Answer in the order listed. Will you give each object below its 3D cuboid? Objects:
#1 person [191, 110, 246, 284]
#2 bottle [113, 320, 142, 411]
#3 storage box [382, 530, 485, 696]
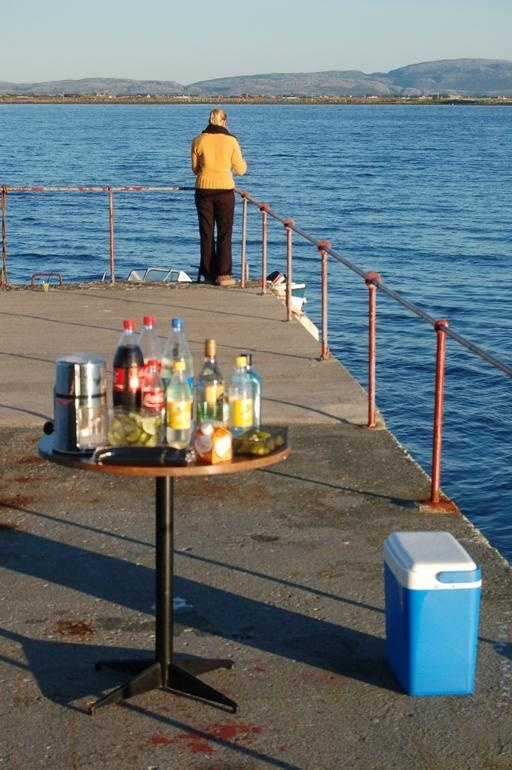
[{"bbox_3d":[-0.377,-1.916,10.835,0.531,1.845,0.906,-2,14,-2],"label":"person"},{"bbox_3d":[-0.451,-0.067,3.626,0.111,0.282,0.250,-3,14,-6],"label":"bottle"},{"bbox_3d":[0.602,0.805,3.608,0.278,0.438,0.449,1,3,-3],"label":"storage box"}]
